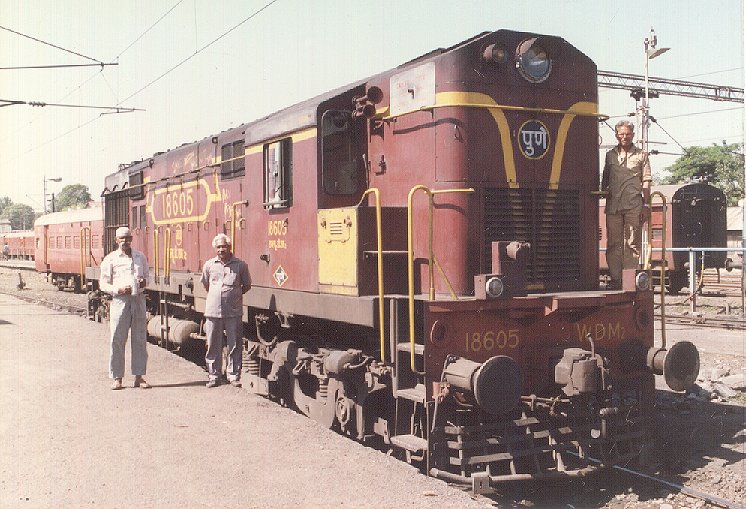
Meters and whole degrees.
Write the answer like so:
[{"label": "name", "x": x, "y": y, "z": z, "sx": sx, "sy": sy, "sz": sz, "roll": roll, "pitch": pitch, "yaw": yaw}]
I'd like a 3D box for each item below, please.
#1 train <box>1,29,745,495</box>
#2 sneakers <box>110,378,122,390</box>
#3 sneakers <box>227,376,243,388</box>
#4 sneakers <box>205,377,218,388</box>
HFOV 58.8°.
[{"label": "train", "x": -2.354, "y": -0.275, "z": 15.419, "sx": 4.392, "sy": 5.362, "sz": 17.555, "roll": 2, "pitch": 2, "yaw": -29}, {"label": "sneakers", "x": -4.534, "y": 2.292, "z": 11.613, "sx": 0.108, "sy": 0.142, "sz": 0.309, "roll": 2, "pitch": -1, "yaw": -18}, {"label": "sneakers", "x": -2.462, "y": 2.260, "z": 11.675, "sx": 0.160, "sy": 0.134, "sz": 0.270, "roll": 3, "pitch": -1, "yaw": -23}, {"label": "sneakers", "x": -2.870, "y": 2.315, "z": 11.803, "sx": 0.235, "sy": 0.184, "sz": 0.128, "roll": 7, "pitch": -3, "yaw": 0}]
